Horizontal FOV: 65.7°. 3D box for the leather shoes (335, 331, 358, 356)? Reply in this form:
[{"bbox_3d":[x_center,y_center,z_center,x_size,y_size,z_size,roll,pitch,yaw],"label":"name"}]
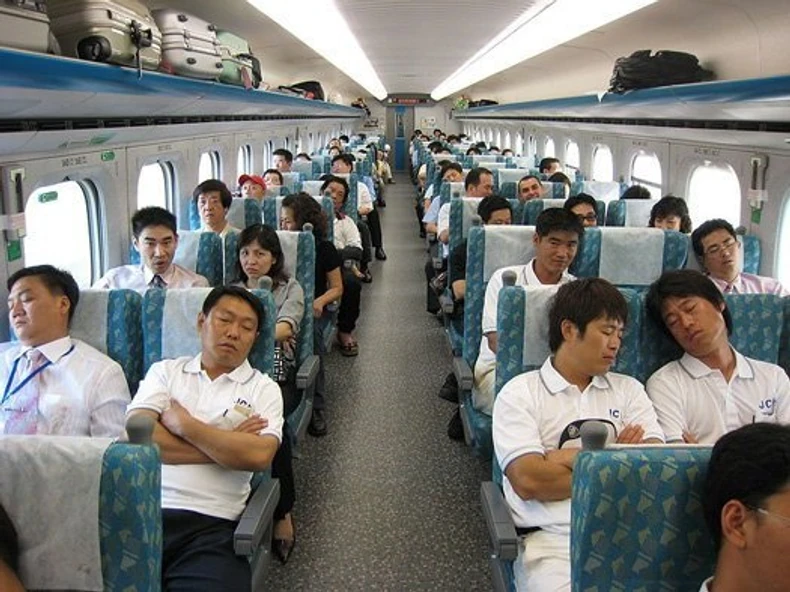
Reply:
[{"bbox_3d":[-0.554,0.531,6.728,0.220,0.145,0.560,-2,7,-11],"label":"leather shoes"}]

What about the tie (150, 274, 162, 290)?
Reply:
[{"bbox_3d":[-1.843,-0.103,4.648,0.101,0.133,0.071,3,1,19],"label":"tie"}]

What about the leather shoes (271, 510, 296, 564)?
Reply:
[{"bbox_3d":[-0.672,1.434,3.651,0.097,0.292,0.077,-7,-9,5],"label":"leather shoes"}]

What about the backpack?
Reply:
[{"bbox_3d":[2.852,-2.359,6.555,0.870,0.349,0.641,-1,7,5],"label":"backpack"}]
